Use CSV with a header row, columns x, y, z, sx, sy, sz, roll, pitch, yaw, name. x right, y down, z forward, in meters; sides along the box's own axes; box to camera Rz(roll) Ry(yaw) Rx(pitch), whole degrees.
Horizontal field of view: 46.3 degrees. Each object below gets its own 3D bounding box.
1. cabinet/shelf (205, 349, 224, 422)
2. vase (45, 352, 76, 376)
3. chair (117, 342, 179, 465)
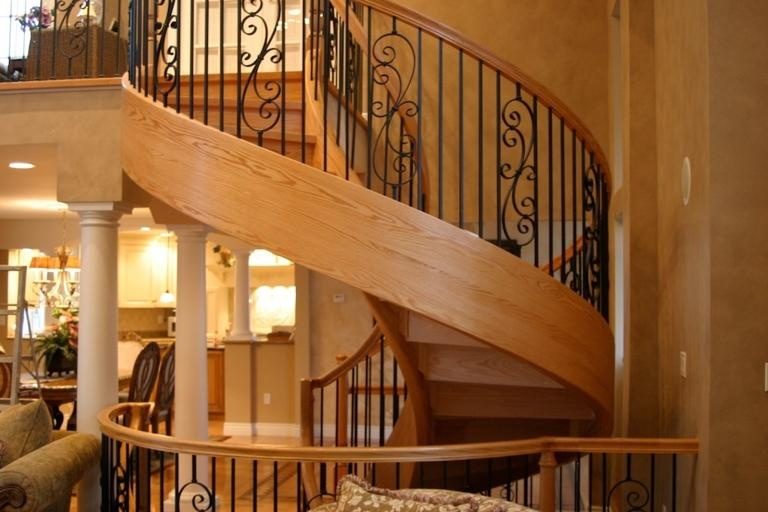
x,y,z,sx,sy,sz,roll,pitch,yaw,name
-2.116,1.558,11.250,0.201,0.847,0.187,1,-6,-6,cabinet/shelf
-3.203,1.054,8.871,0.215,0.330,0.315,1,-1,-29,vase
-2.267,1.265,8.703,0.455,0.890,1.111,2,-6,-15,chair
